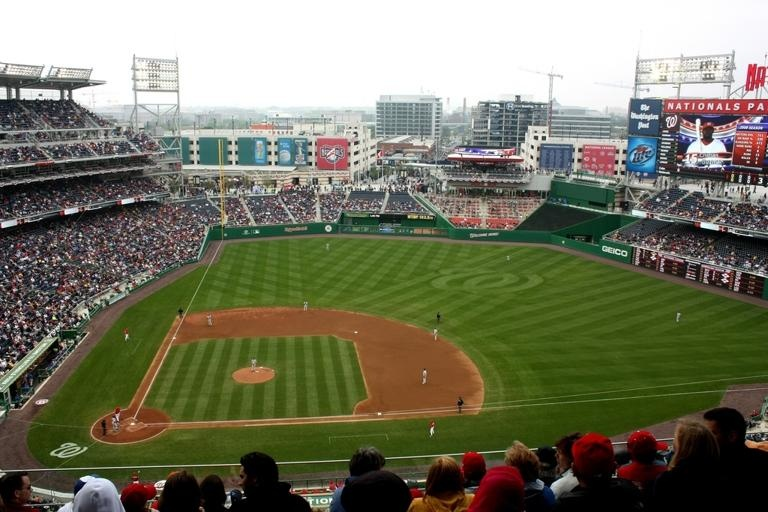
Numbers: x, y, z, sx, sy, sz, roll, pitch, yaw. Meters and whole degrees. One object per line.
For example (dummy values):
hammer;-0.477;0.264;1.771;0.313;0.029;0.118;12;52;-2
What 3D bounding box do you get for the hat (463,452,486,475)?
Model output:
hat;1.767;4.057;12.041;0.461;0.223;0.518;-1;9;-1
